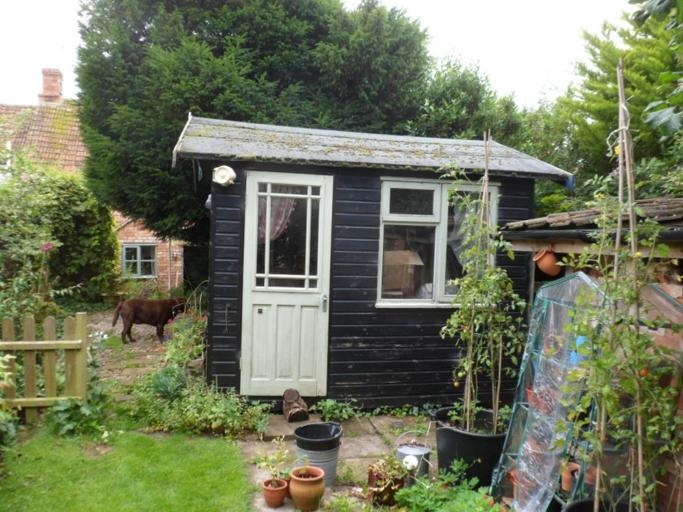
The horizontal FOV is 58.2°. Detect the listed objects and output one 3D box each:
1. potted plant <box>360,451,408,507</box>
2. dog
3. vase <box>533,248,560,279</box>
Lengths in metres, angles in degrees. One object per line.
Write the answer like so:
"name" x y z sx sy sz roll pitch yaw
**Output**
"potted plant" 0.477 2.484 6.850 0.424 0.589 0.481 4 -6 -20
"dog" -3.759 1.268 12.146 1.422 0.928 0.409 2 3 -22
"vase" 2.562 0.069 7.688 0.290 0.323 0.317 -1 -3 20
